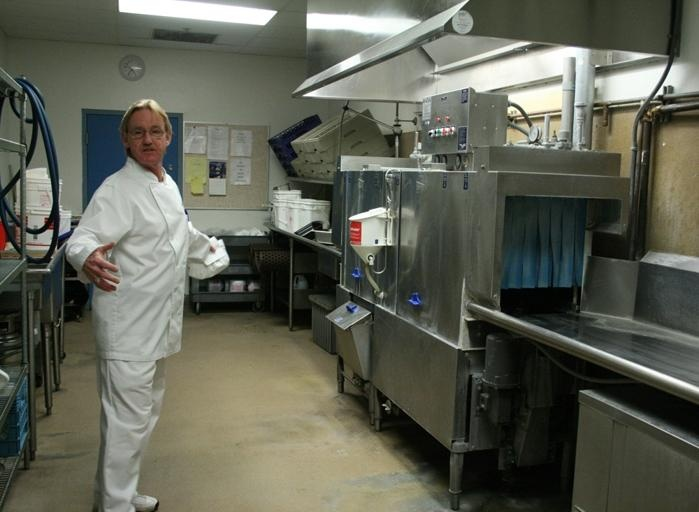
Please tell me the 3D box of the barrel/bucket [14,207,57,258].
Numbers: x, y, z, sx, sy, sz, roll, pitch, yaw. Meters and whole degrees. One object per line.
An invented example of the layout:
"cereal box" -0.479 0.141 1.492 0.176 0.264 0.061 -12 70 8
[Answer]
"barrel/bucket" -1.880 -0.131 3.603 0.148 0.278 0.380 -5 12 -28

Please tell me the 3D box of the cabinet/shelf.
"cabinet/shelf" -1.292 0.210 6.713 0.947 0.929 0.727 1 4 -9

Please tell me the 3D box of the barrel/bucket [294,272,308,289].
"barrel/bucket" -0.497 0.264 6.008 0.145 0.144 0.113 -2 -1 39
